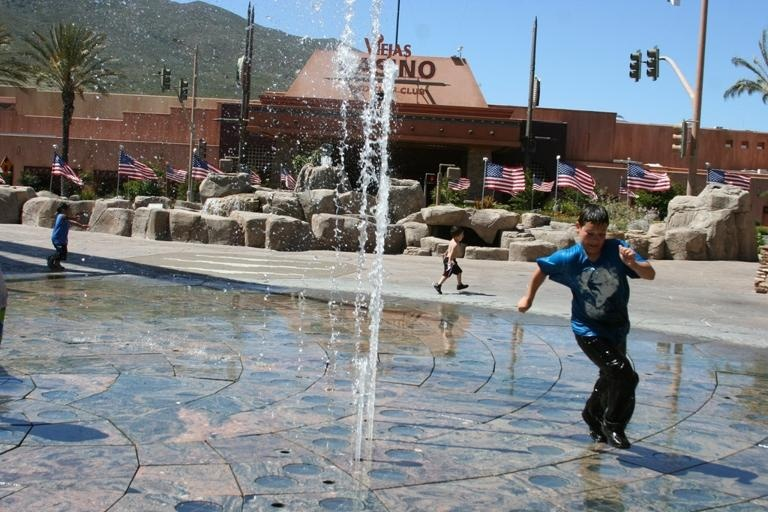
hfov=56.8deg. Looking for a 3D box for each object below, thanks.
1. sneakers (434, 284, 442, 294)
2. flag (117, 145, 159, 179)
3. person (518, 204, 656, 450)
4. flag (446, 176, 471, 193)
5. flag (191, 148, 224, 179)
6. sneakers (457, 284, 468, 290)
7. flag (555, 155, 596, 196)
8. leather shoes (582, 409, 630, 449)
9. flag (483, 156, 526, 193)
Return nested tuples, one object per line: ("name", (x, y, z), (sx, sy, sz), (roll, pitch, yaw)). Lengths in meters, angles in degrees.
("sneakers", (1.176, 0.673, 15.233), (0.161, 0.210, 0.455), (4, 10, 3))
("flag", (-15.407, -5.878, 44.386), (3.077, 2.583, 0.393), (16, -36, -32))
("person", (2.071, 0.669, 6.961), (0.939, 2.311, 0.314), (7, 10, 19))
("flag", (3.582, -3.414, 34.138), (0.929, 0.501, 1.491), (4, 10, 3))
("flag", (-10.650, -5.171, 41.512), (1.163, 1.159, 8.311), (1, 10, -15))
("sneakers", (1.743, 0.666, 15.490), (0.276, 0.103, 0.091), (-6, 12, -35))
("flag", (8.910, -3.580, 33.097), (1.370, 1.353, 2.601), (10, 12, 33))
("leather shoes", (2.169, 1.726, 7.046), (0.184, 0.222, 0.538), (-7, 4, -17))
("flag", (5.383, -3.405, 31.604), (1.690, 1.269, 1.863), (5, 10, 9))
